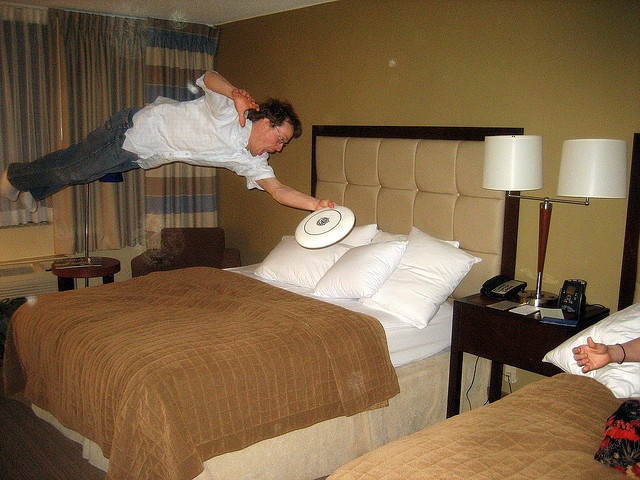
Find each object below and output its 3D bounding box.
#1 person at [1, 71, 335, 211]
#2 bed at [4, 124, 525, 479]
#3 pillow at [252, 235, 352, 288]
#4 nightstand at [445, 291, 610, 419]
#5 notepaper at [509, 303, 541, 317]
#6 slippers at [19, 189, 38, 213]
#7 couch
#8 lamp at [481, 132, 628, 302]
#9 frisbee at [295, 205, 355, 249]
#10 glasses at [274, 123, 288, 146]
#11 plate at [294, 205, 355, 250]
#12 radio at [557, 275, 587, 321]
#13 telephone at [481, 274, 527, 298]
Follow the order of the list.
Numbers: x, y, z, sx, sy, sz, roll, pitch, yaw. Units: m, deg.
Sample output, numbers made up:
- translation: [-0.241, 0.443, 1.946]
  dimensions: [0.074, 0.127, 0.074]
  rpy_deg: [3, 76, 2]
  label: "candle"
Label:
- translation: [-1.056, -0.673, 3.537]
  dimensions: [2.471, 0.868, 0.702]
  rpy_deg: [2, 8, 15]
  label: "person"
- translation: [-0.346, 0.367, 3.447]
  dimensions: [2.054, 1.425, 2.053]
  rpy_deg: [-14, 18, -42]
  label: "bed"
- translation: [-0.158, 0.224, 4.431]
  dimensions: [0.550, 0.243, 0.873]
  rpy_deg: [1, 12, 22]
  label: "pillow"
- translation: [1.225, 0.903, 3.372]
  dimensions: [0.747, 0.811, 0.604]
  rpy_deg: [6, -5, 21]
  label: "nightstand"
- translation: [1.261, 0.433, 3.141]
  dimensions: [0.188, 0.029, 0.129]
  rpy_deg: [-6, 10, -39]
  label: "notepaper"
- translation: [-2.523, -0.344, 4.405]
  dimensions: [0.136, 0.237, 0.115]
  rpy_deg: [-39, -24, 30]
  label: "slippers"
- translation: [-1.410, 0.104, 5.370]
  dimensions: [0.793, 0.796, 0.626]
  rpy_deg: [0, -2, -12]
  label: "couch"
- translation: [1.548, -0.161, 3.305]
  dimensions: [1.004, 1.278, 0.387]
  rpy_deg: [6, 8, 36]
  label: "lamp"
- translation: [0.031, -0.073, 2.854]
  dimensions: [0.324, 0.220, 0.329]
  rpy_deg: [2, 8, 17]
  label: "frisbee"
- translation: [-0.252, -0.701, 3.352]
  dimensions: [0.045, 0.104, 0.099]
  rpy_deg: [-4, -3, 18]
  label: "glasses"
- translation: [0.031, -0.073, 2.854]
  dimensions: [0.324, 0.220, 0.329]
  rpy_deg: [2, 8, 17]
  label: "plate"
- translation: [1.561, 0.360, 3.171]
  dimensions: [0.130, 0.228, 0.108]
  rpy_deg: [12, 9, 43]
  label: "radio"
- translation: [1.246, 0.310, 3.436]
  dimensions: [0.221, 0.077, 0.163]
  rpy_deg: [-18, 17, -33]
  label: "telephone"
